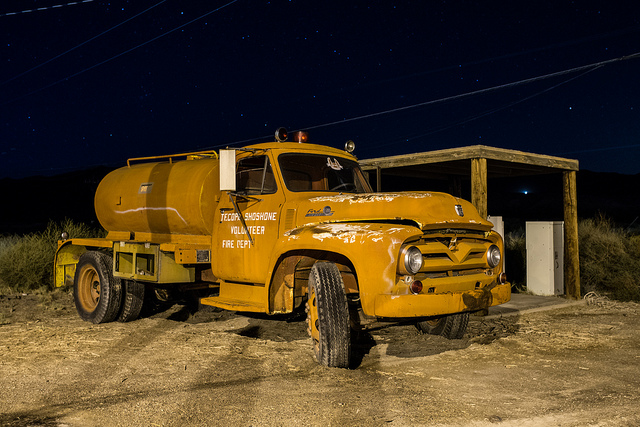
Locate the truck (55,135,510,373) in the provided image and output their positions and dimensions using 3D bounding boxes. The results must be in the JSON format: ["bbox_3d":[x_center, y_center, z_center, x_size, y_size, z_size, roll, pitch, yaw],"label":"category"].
[{"bbox_3d":[-0.818,0.502,8.675,7.332,3.475,1.838,2,3,33],"label":"truck"}]
